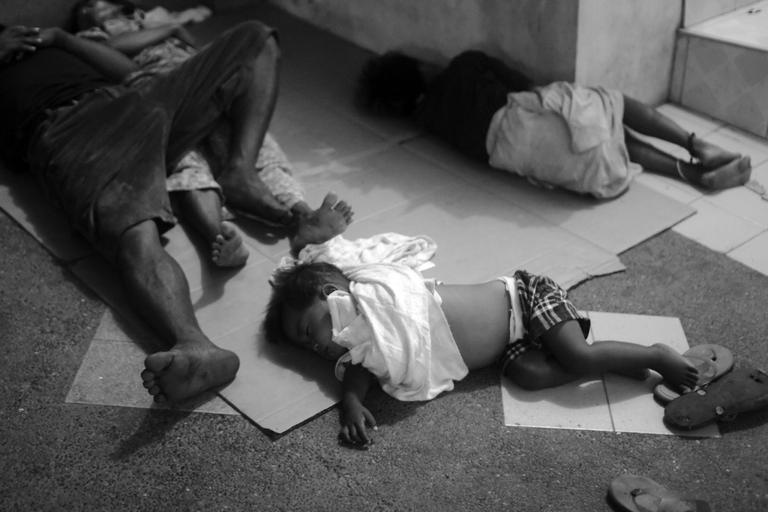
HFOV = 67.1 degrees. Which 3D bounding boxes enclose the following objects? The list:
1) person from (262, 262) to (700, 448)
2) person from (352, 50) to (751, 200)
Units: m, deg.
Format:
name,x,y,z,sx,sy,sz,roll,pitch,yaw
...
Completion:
name,x,y,z,sx,sy,sz,roll,pitch,yaw
person,0.297,0.266,2.270,1.573,0.605,0.576,-11,1,-1
person,0.771,-0.732,3.180,2.183,0.668,0.768,13,35,26
